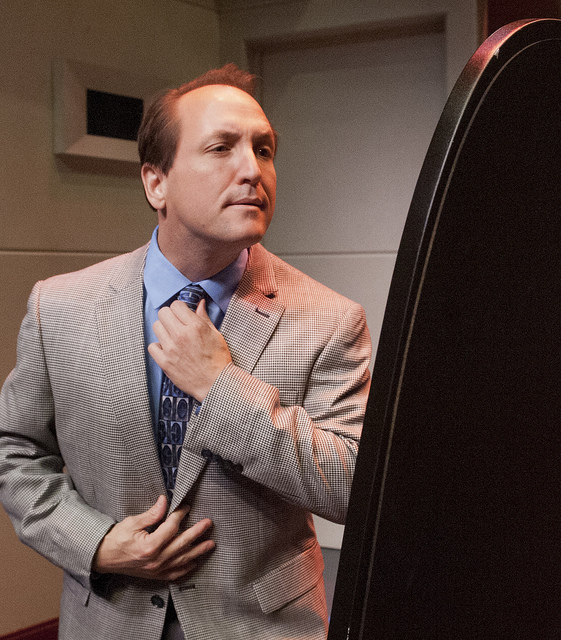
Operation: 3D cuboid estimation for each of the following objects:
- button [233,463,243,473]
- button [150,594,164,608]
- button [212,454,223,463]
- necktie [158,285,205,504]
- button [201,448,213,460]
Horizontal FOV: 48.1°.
[{"bbox_3d":[-0.068,0.232,0.996,0.013,0.013,0.007,18,16,11],"label":"button"},{"bbox_3d":[-0.213,0.482,1.080,0.022,0.017,0.005,46,16,13],"label":"button"},{"bbox_3d":[-0.102,0.220,1.004,0.017,0.016,0.007,3,10,3],"label":"button"},{"bbox_3d":[-0.180,0.126,1.137,0.077,0.370,0.137,1,10,-7],"label":"necktie"},{"bbox_3d":[-0.118,0.212,1.006,0.019,0.020,0.009,6,11,18],"label":"button"}]
